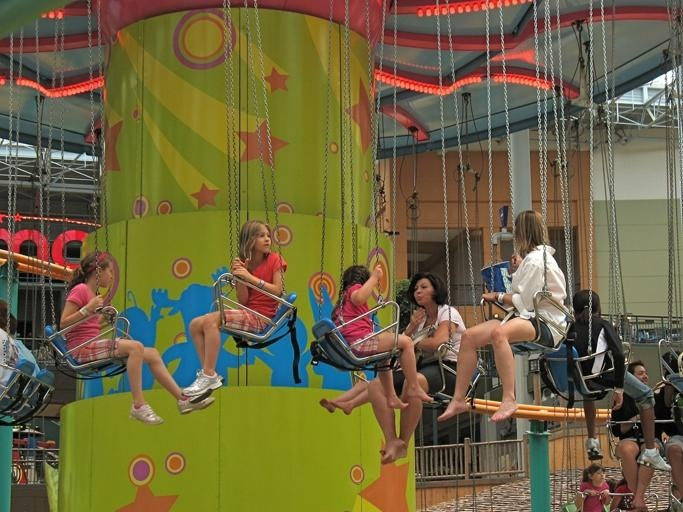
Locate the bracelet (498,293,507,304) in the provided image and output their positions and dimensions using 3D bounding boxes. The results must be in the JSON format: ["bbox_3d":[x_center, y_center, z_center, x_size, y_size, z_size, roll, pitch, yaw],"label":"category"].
[{"bbox_3d":[2.191,0.576,19.338,0.088,0.119,0.128,1,-24,2],"label":"bracelet"}]

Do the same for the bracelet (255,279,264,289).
[{"bbox_3d":[-1.097,0.378,19.004,0.100,0.105,0.105,5,3,-7],"label":"bracelet"}]

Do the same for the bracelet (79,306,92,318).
[{"bbox_3d":[-3.505,0.766,19.320,0.112,0.096,0.119,2,3,5],"label":"bracelet"}]

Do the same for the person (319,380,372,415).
[{"bbox_3d":[0.108,1.990,19.753,0.898,0.261,0.321,-34,32,-31],"label":"person"}]

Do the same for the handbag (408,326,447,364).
[{"bbox_3d":[1.196,1.198,19.830,0.186,0.558,0.389,34,-34,-23],"label":"handbag"}]

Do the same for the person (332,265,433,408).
[{"bbox_3d":[0.475,1.058,19.080,1.155,1.936,0.731,0,-8,-1],"label":"person"}]
